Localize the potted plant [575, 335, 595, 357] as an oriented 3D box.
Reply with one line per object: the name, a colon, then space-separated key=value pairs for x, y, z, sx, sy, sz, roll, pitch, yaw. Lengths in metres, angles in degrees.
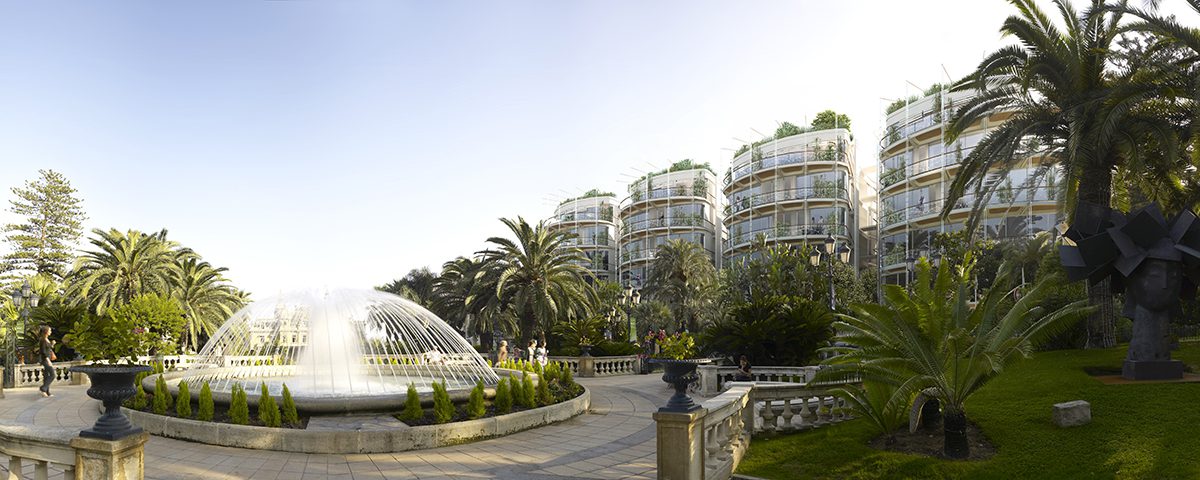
potted plant: x=-1.006 y=8.071 z=53.915 sx=1.625 sy=0.899 sz=1.377 roll=2 pitch=-5 yaw=-14

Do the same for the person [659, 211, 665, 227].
person: x=8.209 y=-2.642 z=94.404 sx=0.714 sy=1.713 sz=0.366 roll=-7 pitch=-15 yaw=4
